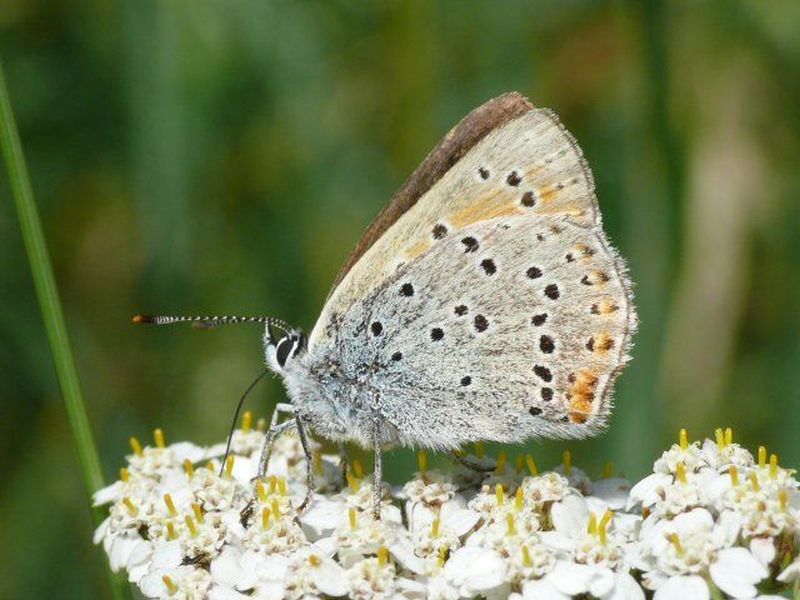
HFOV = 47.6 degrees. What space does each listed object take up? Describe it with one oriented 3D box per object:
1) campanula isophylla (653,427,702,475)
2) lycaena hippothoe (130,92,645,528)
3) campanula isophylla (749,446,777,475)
[{"bbox_3d":[1.416,0.790,4.545,0.261,0.299,0.227,-5,2,7],"label":"campanula isophylla"},{"bbox_3d":[-0.027,0.164,5.890,2.573,2.428,2.008,-3,-5,2],"label":"lycaena hippothoe"},{"bbox_3d":[1.870,0.827,4.673,0.156,0.077,0.118,10,23,17],"label":"campanula isophylla"}]
